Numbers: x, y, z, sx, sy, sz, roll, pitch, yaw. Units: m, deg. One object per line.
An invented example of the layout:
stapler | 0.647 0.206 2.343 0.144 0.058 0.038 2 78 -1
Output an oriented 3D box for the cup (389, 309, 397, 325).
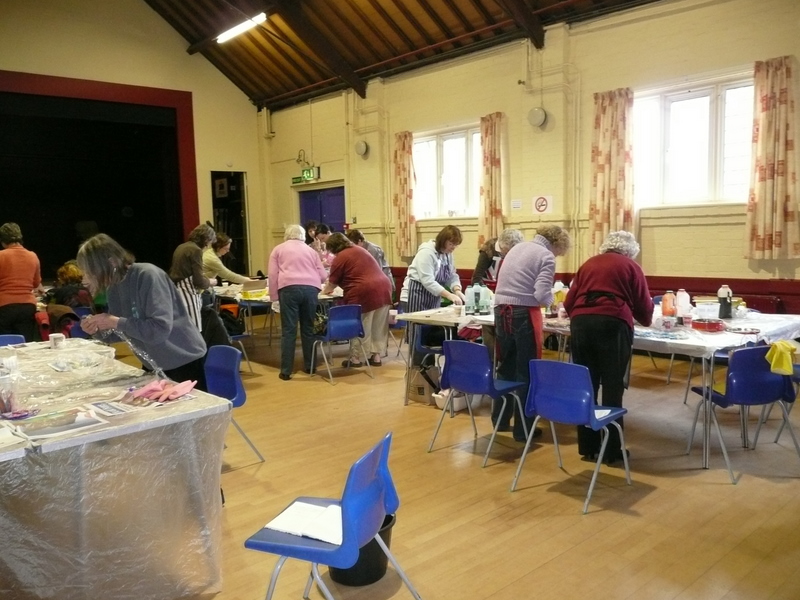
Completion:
cup | -0.082 0.249 8.816 0.168 0.215 0.207 -1 -5 17

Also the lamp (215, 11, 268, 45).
lamp | -2.641 -4.572 10.084 0.810 0.211 0.152 -1 -33 40

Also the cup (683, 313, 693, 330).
cup | 2.265 0.164 4.732 0.080 0.135 0.087 2 0 0

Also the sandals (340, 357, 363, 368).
sandals | -0.574 0.739 7.287 0.214 0.106 0.104 11 7 16

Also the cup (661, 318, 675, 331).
cup | 2.003 0.180 4.511 0.091 0.078 0.095 -1 4 0

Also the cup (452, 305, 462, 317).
cup | 0.542 0.107 5.558 0.083 0.085 0.083 -2 6 0

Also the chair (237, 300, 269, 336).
chair | -2.354 0.141 9.770 0.543 0.487 0.962 -4 10 -20

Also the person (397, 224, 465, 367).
person | 0.352 -0.047 6.212 0.653 1.386 0.528 11 19 27

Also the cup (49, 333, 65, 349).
cup | -2.465 0.282 4.357 0.107 0.111 0.092 7 10 40

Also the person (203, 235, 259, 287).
person | -2.118 -0.506 7.525 0.696 0.590 0.477 2 2 3
